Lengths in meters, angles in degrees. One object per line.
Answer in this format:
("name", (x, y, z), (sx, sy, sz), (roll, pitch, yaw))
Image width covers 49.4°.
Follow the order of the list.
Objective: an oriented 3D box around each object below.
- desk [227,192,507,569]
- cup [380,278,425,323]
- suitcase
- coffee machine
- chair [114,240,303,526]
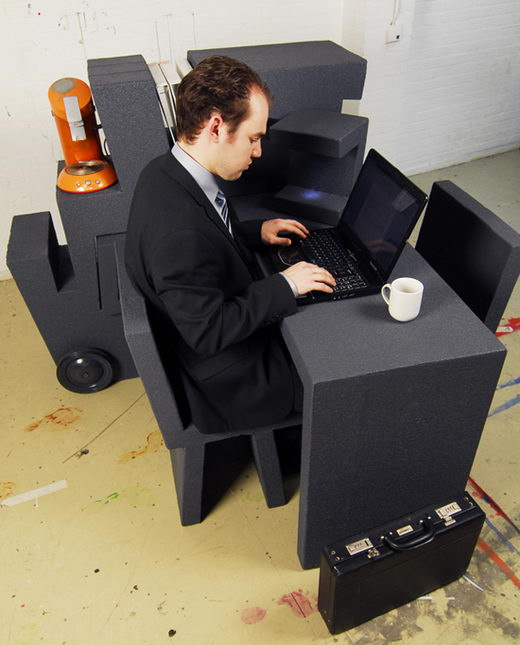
("desk", (0.292, 0.285, 1.501), (0.490, 0.747, 0.319), (-7, 36, -12))
("cup", (0.312, -0.063, 1.322), (0.081, 0.084, 0.113), (-10, 39, -9))
("suitcase", (0.338, 0.595, 1.378), (0.355, 0.283, 0.122), (-14, 45, -15))
("coffee machine", (-0.595, -0.616, 1.847), (0.189, 0.319, 0.313), (-10, 36, -17))
("chair", (-0.119, 0.172, 1.478), (0.489, 0.776, 0.435), (-11, 46, -10))
